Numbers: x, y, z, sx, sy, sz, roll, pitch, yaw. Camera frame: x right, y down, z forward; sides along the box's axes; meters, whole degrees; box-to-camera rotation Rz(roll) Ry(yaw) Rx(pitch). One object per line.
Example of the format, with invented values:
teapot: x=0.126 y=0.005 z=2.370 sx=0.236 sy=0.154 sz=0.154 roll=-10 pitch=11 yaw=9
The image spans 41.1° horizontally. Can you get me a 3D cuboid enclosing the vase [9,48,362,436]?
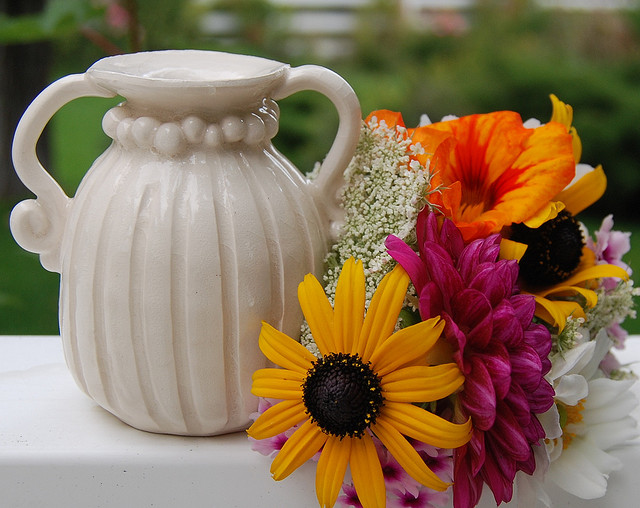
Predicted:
vase: x=-0.160 y=-0.036 z=1.060 sx=0.354 sy=0.372 sz=0.393 roll=31 pitch=53 yaw=28

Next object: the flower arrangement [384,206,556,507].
flower arrangement: x=0.174 y=0.103 z=0.953 sx=0.148 sy=0.205 sz=0.253 roll=-16 pitch=47 yaw=-16
